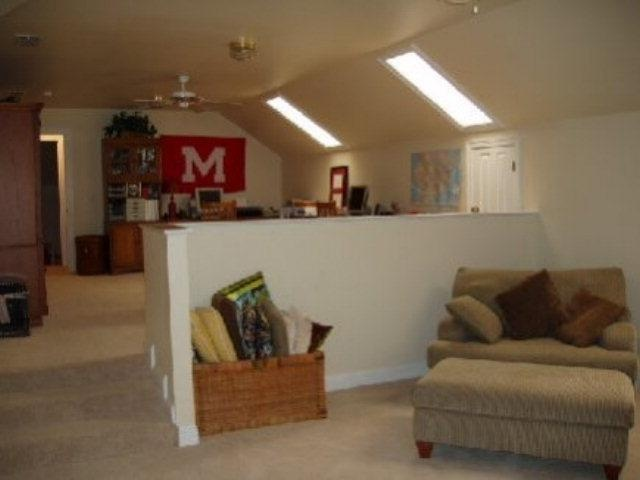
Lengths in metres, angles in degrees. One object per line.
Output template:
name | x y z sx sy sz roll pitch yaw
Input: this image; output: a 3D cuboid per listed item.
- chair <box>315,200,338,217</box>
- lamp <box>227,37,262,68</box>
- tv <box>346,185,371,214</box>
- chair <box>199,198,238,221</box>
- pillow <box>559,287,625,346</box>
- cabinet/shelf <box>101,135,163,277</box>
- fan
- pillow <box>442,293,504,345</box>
chair | 0.092 -0.523 9.039 0.295 0.294 0.250 -1 2 -18
lamp | -0.827 -2.069 6.000 0.285 0.265 0.705 -1 3 -5
tv | 0.737 -0.675 9.294 0.389 0.596 0.445 3 6 11
chair | -1.918 -0.557 10.326 0.664 0.348 0.278 0 3 12
pillow | 2.313 0.661 4.703 0.437 0.462 0.131 12 -27 52
cabinet/shelf | -3.388 -0.562 10.079 0.916 2.423 0.602 -2 -6 -25
fan | -1.945 -2.196 8.105 0.788 0.315 0.858 1 8 11
pillow | 1.597 0.735 4.976 0.698 0.245 0.695 15 -4 -13
